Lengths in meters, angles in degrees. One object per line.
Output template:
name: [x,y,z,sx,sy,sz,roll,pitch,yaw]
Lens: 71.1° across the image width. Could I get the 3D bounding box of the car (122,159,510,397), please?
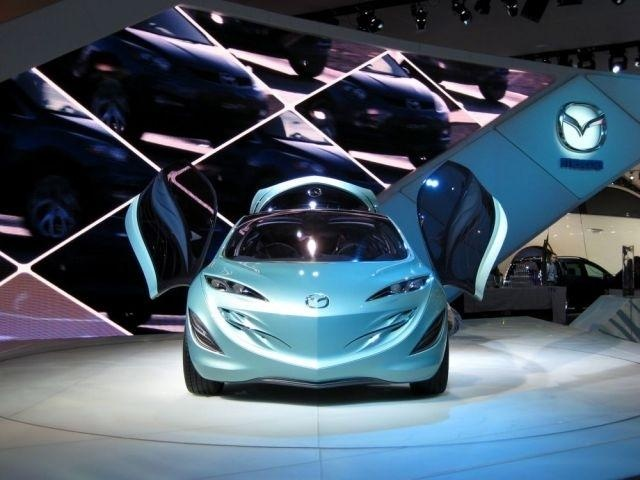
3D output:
car: [0.095,-0.001,4.341,3.089,1.270,3.110,1,16,6]
